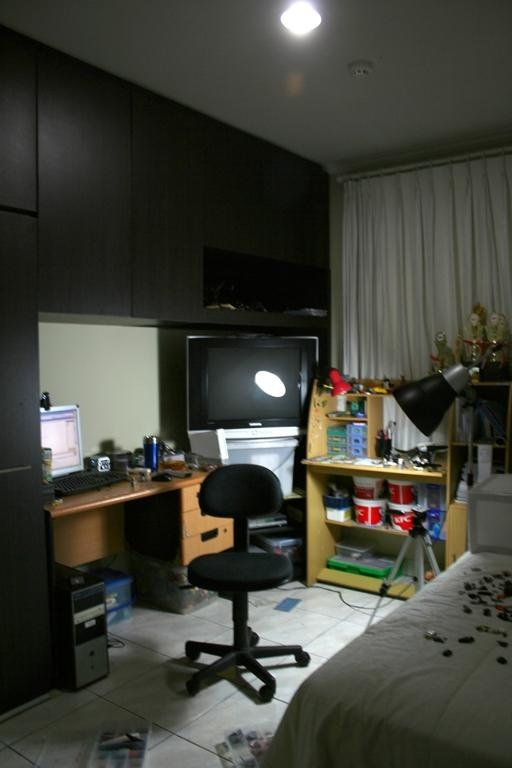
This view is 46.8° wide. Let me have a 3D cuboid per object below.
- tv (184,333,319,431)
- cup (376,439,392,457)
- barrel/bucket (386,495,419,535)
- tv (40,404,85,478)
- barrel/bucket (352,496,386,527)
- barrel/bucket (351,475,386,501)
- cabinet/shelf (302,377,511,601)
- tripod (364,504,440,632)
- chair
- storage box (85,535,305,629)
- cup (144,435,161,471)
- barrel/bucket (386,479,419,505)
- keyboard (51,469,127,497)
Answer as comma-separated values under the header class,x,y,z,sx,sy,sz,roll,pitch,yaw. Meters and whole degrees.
class,x,y,z,sx,sy,sz,roll,pitch,yaw
tv,-0.036,0.041,3.613,0.829,0.611,0.461,0,-5,-16
cup,0.739,0.365,3.409,0.083,0.089,0.152,7,1,14
barrel/bucket,0.800,0.731,3.283,0.241,0.218,0.263,0,-2,0
tv,-0.890,0.263,2.697,0.032,0.338,0.322,-3,2,28
barrel/bucket,0.672,0.737,3.445,0.154,0.125,0.161,0,-5,0
barrel/bucket,0.654,0.598,3.426,0.160,0.162,0.169,-3,6,0
cabinet/shelf,0.759,0.531,3.030,1.080,1.328,0.443,1,-2,27
tripod,0.696,0.864,2.707,0.333,0.590,0.402,2,8,15
chair,-0.052,0.763,2.354,0.441,0.790,0.494,0,3,-5
storage box,-0.522,1.034,3.078,0.609,0.174,0.693,-1,2,28
cup,-0.553,0.362,3.144,0.089,0.180,0.193,-1,0,-11
barrel/bucket,0.826,0.595,3.388,0.149,0.121,0.150,-2,4,0
keyboard,-0.766,0.443,2.705,0.277,0.049,0.488,-1,0,10
